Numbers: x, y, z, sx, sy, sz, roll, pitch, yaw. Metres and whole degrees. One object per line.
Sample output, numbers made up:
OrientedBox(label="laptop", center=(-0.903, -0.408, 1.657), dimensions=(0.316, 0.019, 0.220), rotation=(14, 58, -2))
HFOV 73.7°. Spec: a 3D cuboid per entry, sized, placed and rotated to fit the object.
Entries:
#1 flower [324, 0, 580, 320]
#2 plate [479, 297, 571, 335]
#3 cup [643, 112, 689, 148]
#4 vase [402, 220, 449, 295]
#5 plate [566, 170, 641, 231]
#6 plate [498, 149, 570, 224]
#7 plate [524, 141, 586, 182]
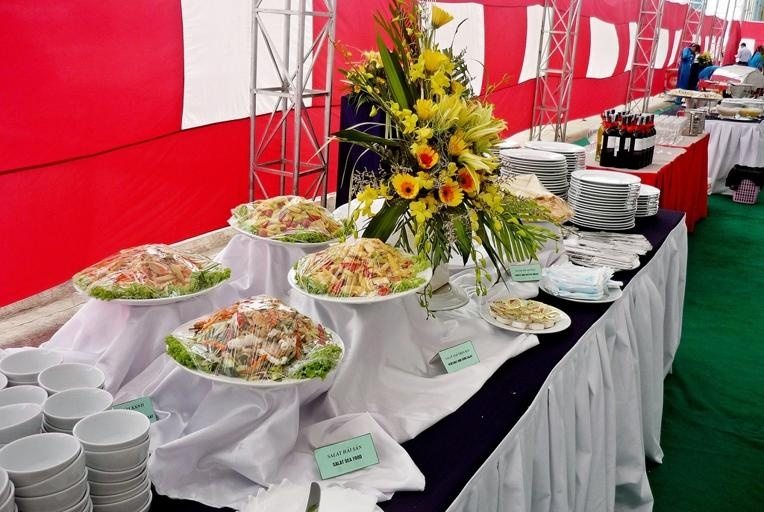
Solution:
OrientedBox(label="flower", center=(0.207, -0.316, 1.812), dimensions=(0.773, 1.102, 0.580), rotation=(-1, 19, -7))
OrientedBox(label="plate", center=(0.582, 0.225, 1.961), dimensions=(0.267, 0.061, 0.285), rotation=(2, 16, 6))
OrientedBox(label="cup", center=(2.686, -1.158, 4.824), dimensions=(0.324, 0.467, 0.150), rotation=(6, 12, 16))
OrientedBox(label="vase", center=(0.145, 0.000, 1.742), dimensions=(0.130, 0.233, 0.123), rotation=(-30, 52, -18))
OrientedBox(label="plate", center=(1.199, -0.280, 2.876), dimensions=(0.371, 0.232, 0.380), rotation=(19, 29, 38))
OrientedBox(label="plate", center=(0.832, -0.400, 2.693), dimensions=(0.430, 0.237, 0.535), rotation=(-5, 26, -12))
OrientedBox(label="plate", center=(1.178, -0.654, 3.346), dimensions=(0.311, 0.143, 0.326), rotation=(2, 20, 5))
